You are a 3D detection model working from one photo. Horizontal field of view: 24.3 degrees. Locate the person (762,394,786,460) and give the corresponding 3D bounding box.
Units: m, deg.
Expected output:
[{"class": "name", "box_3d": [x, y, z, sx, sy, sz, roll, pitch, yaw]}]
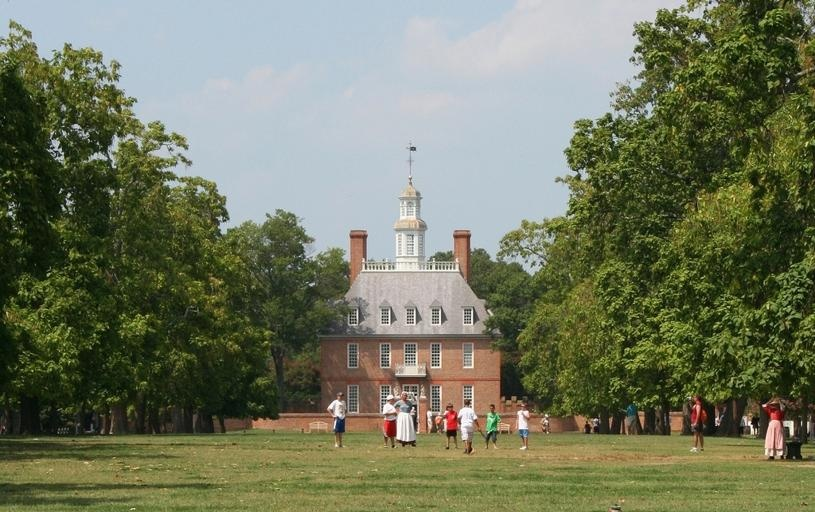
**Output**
[{"class": "person", "box_3d": [15.579, 7.376, 80.632, 1.126, 2.477, 0.750, 6, -12, -10]}]
